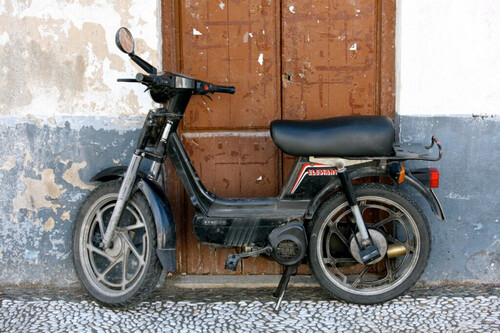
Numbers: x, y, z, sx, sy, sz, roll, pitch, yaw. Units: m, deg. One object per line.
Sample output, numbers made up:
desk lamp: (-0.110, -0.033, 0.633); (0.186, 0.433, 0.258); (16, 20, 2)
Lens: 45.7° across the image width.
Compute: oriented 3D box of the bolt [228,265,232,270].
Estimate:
bolt: (-0.183, 0.901, 5.284); (0.029, 0.027, 0.016); (2, 12, 5)

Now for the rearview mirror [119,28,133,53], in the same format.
rearview mirror: (-1.048, -1.063, 4.991); (0.035, 0.158, 0.156); (-4, -5, 21)

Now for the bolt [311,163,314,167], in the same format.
bolt: (0.560, -0.018, 5.367); (0.027, 0.029, 0.006); (1, -6, 4)

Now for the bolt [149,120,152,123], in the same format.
bolt: (-0.880, -0.402, 5.268); (0.013, 0.021, 0.005); (0, 14, -1)

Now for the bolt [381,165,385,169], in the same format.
bolt: (1.186, 0.002, 5.308); (0.025, 0.026, 0.006); (3, -6, -2)

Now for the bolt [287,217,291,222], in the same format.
bolt: (0.347, 0.468, 5.348); (0.031, 0.030, 0.008); (0, 14, -2)

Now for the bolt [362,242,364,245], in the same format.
bolt: (1.005, 0.681, 5.289); (0.008, 0.033, 0.020); (-10, 17, -37)

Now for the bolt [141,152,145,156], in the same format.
bolt: (-0.957, -0.113, 5.281); (0.031, 0.032, 0.010); (0, 5, 5)
